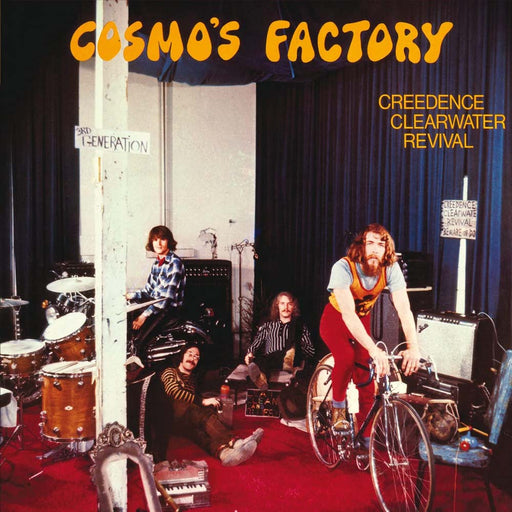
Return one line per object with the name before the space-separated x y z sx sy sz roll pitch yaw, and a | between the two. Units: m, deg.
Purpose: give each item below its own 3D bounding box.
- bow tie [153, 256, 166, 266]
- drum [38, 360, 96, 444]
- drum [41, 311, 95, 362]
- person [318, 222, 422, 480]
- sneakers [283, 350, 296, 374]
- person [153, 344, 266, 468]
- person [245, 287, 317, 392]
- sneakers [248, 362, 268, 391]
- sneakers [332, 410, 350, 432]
bow tie | -0.936 0.052 5.588 0.077 0.138 0.118 1 -3 -18
drum | -1.290 0.982 3.994 0.350 0.507 0.385 7 5 -1
drum | -1.372 0.661 4.397 0.266 0.251 0.282 -1 19 46
person | 0.737 0.671 3.835 0.525 1.747 1.013 -2 6 -11
sneakers | 0.288 0.926 5.044 0.114 0.357 0.083 0 -20 5
person | -0.367 1.045 4.275 0.466 0.731 1.008 23 -11 -40
person | 0.189 0.717 5.014 0.499 0.848 1.099 0 2 14
sneakers | 0.013 1.003 4.886 0.091 0.347 0.131 -15 30 7
sneakers | 0.565 1.094 3.891 0.078 0.172 0.145 5 -19 -17
